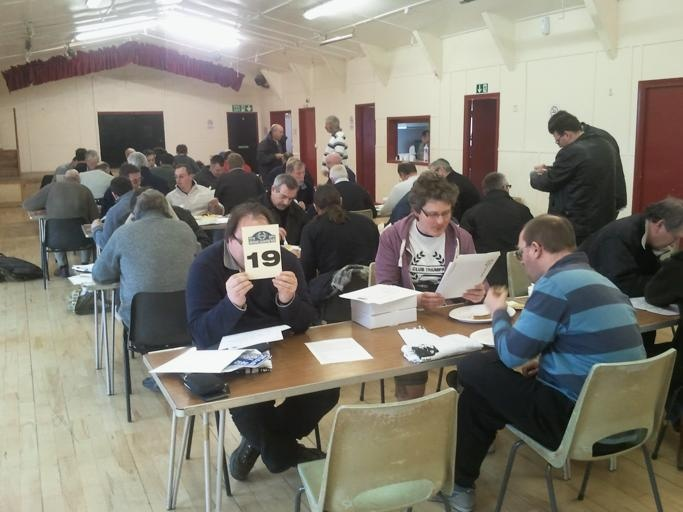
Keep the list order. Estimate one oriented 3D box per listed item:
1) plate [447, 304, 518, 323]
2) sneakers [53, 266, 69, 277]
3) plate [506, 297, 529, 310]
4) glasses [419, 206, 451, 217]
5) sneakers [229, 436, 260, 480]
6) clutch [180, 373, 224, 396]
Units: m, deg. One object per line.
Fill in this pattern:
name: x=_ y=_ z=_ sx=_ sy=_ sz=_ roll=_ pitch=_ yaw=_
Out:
plate: x=0.764 y=0.342 z=3.420 sx=0.238 sy=0.065 sz=0.354 roll=0 pitch=8 yaw=11
sneakers: x=-3.639 y=0.196 z=7.451 sx=0.202 sy=0.141 sz=0.072 roll=16 pitch=19 yaw=34
plate: x=1.116 y=0.294 z=3.627 sx=0.084 sy=0.039 sz=0.114 roll=1 pitch=10 yaw=-3
glasses: x=0.594 y=-0.274 z=3.603 sx=0.183 sy=0.060 sz=0.073 roll=-2 pitch=8 yaw=-5
sneakers: x=-0.556 y=1.184 z=3.434 sx=0.173 sy=0.267 sz=0.092 roll=8 pitch=-11 yaw=23
clutch: x=-0.632 y=0.577 z=2.645 sx=0.183 sy=0.076 sz=0.249 roll=-4 pitch=8 yaw=-19
